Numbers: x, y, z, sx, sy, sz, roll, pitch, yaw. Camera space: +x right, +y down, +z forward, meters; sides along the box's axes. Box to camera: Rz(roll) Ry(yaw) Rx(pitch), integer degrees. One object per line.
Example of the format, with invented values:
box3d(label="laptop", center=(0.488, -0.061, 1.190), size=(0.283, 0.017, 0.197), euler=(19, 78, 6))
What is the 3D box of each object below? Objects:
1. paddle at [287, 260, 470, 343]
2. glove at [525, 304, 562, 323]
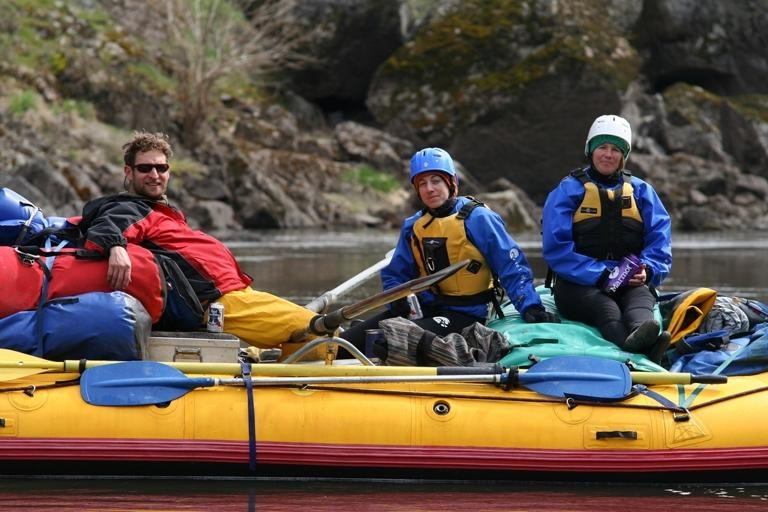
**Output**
box3d(label="paddle", center=(-0.038, 0.778, 29.370), size=(0.440, 0.368, 4.337), euler=(-15, -6, -45))
box3d(label="glove", center=(2.706, 0.987, 29.961), size=(0.499, 0.165, 0.300), euler=(15, 43, -2))
